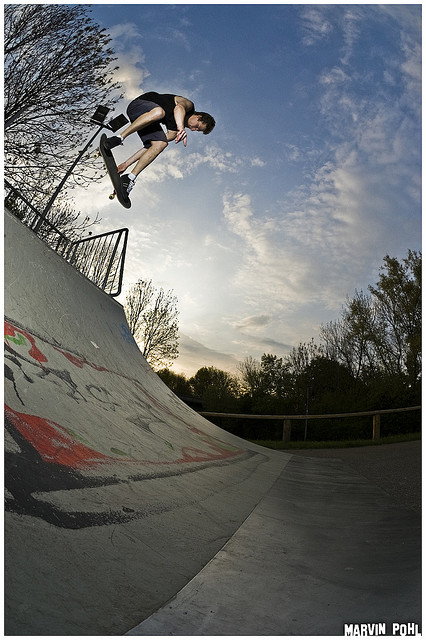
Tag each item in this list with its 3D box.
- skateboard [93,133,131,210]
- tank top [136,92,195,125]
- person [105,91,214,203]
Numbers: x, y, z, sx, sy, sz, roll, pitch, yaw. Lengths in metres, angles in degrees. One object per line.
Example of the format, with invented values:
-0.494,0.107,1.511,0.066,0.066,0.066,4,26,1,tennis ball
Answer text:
-1.131,-1.675,5.155,0.157,0.263,0.957,-31,-43,0,skateboard
-0.594,-2.525,5.393,0.608,0.367,0.412,13,-1,25,tank top
-0.672,-2.298,5.405,1.552,0.898,0.673,-32,-6,-18,person
